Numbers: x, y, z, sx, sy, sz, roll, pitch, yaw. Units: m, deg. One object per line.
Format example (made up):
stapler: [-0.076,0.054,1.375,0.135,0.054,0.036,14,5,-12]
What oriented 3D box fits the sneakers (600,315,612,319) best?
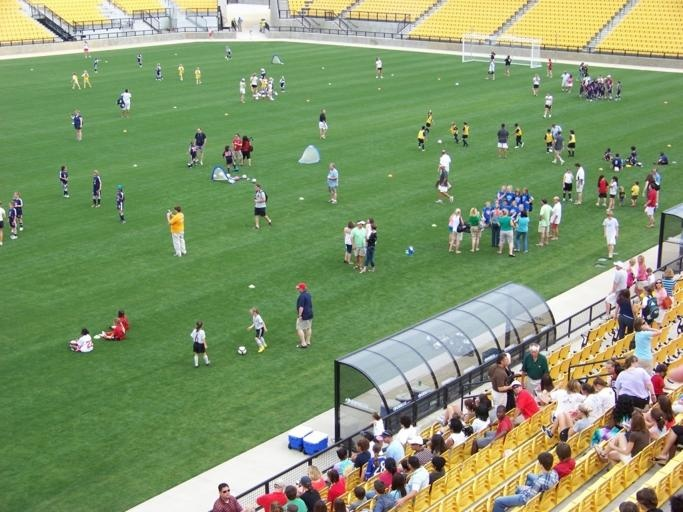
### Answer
sneakers: [10.723,2.525,59.764,0.447,0.175,0.152,-10,33,52]

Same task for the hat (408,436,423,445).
hat: [2.655,6.562,52.010,0.476,0.266,0.456,-12,12,-6]

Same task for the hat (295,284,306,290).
hat: [-1.606,1.284,58.895,0.366,0.194,0.268,16,21,42]

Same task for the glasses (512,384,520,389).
glasses: [6.433,4.781,54.246,0.185,0.123,0.240,-1,18,-20]

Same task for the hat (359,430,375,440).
hat: [0.978,6.468,52.709,0.272,0.299,0.508,-39,16,-36]

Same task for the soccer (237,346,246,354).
soccer: [-3.904,3.803,59.057,0.361,0.289,0.427,-11,12,-2]
